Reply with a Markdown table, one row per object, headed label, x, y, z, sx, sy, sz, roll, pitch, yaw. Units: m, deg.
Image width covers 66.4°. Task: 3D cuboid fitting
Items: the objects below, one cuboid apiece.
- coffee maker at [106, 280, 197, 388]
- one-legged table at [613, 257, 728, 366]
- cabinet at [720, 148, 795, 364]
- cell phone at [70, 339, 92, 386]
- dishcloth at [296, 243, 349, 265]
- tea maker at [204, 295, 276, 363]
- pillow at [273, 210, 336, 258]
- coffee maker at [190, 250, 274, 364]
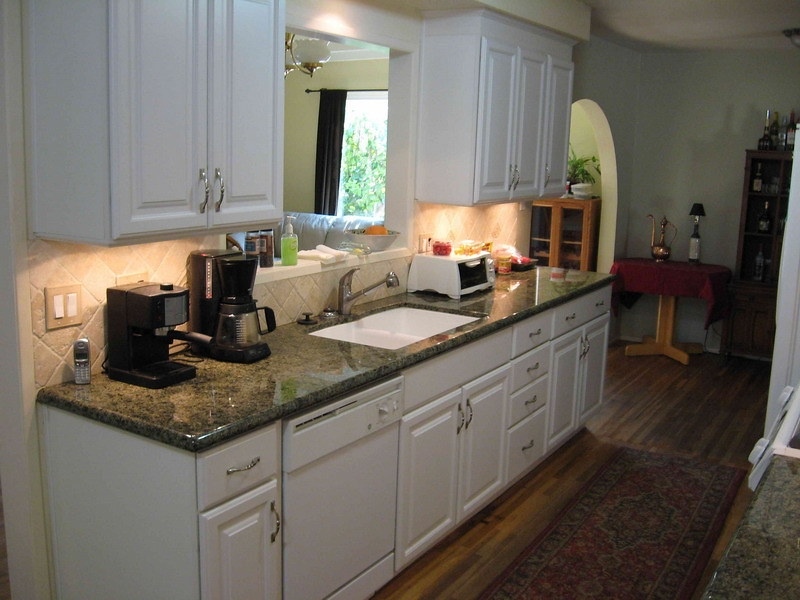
| label | x | y | z | sx | sy | sz | roll | pitch | yaw |
| --- | --- | --- | --- | --- | --- | --- | --- | --- | --- |
| coffee maker | -0.938 | 0.125 | 2.332 | 0.275 | 0.375 | 0.228 | 5 | 8 | 23 |
| one-legged table | 2.694 | 0.100 | 6.016 | 0.837 | 0.771 | 0.583 | 9 | 17 | 33 |
| cabinet | 3.383 | -0.384 | 5.788 | 0.453 | 2.021 | 0.503 | 9 | 16 | 30 |
| cell phone | -1.175 | 0.219 | 2.266 | 0.065 | 0.167 | 0.108 | -7 | 16 | -30 |
| dishcloth | -0.398 | -0.248 | 3.337 | 0.155 | 0.057 | 0.155 | 16 | 25 | 32 |
| tea maker | -0.648 | 0.082 | 2.614 | 0.282 | 0.299 | 0.166 | 1 | -9 | -43 |
| pillow | -0.798 | -0.560 | 5.192 | 0.574 | 0.418 | 0.324 | 16 | 22 | 31 |
| coffee maker | -0.717 | 0.017 | 2.599 | 0.337 | 0.444 | 0.251 | 8 | 13 | 12 |
